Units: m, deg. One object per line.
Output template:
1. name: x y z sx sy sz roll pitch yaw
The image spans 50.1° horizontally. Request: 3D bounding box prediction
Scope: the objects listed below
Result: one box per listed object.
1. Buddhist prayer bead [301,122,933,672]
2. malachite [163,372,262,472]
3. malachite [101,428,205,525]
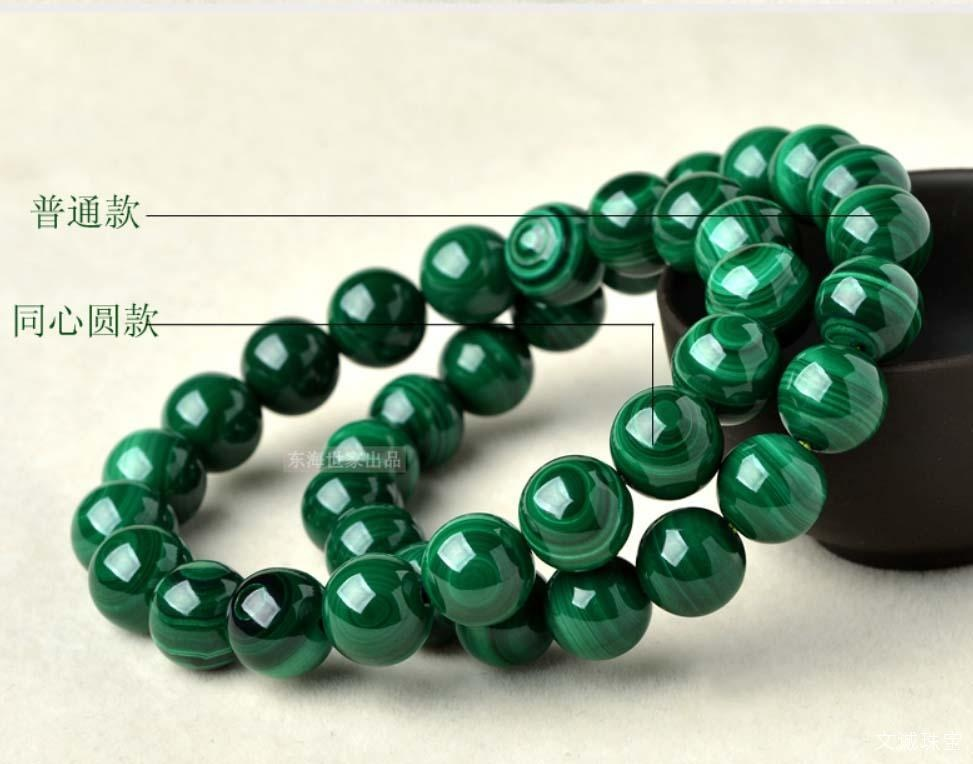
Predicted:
1. Buddhist prayer bead: 0.191 0.087 1.093 0.704 0.512 0.170 -48 -33 -7
2. malachite: -0.331 0.064 1.317 0.104 0.143 0.105 0 -10 -31
3. malachite: -0.376 0.099 1.214 0.094 0.104 0.134 13 23 28
